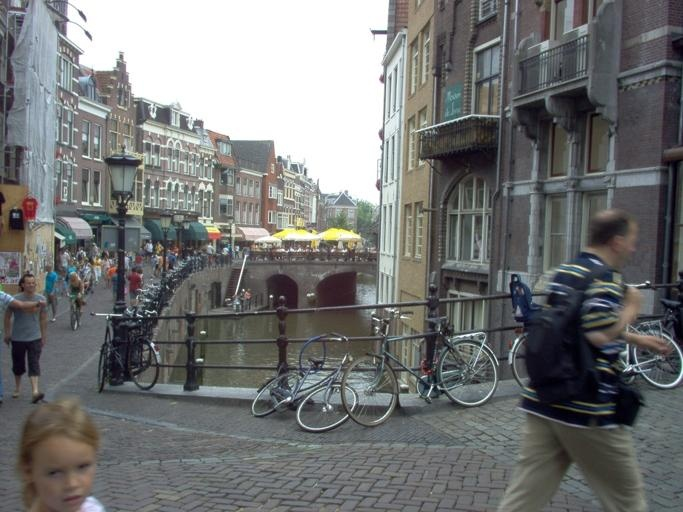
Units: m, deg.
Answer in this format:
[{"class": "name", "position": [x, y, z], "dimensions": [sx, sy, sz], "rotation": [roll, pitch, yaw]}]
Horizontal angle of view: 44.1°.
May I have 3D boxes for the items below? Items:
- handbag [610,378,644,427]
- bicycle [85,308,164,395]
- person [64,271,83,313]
[{"class": "handbag", "position": [2.773, 1.409, 8.111], "dimensions": [0.316, 0.427, 0.131], "rotation": [1, -2, -27]}, {"class": "bicycle", "position": [-4.114, 1.770, 16.366], "dimensions": [0.972, 1.274, 2.023], "rotation": [5, -1, -37]}, {"class": "person", "position": [-7.437, 0.976, 23.657], "dimensions": [0.351, 1.046, 0.850], "rotation": [1, -2, -22]}]
